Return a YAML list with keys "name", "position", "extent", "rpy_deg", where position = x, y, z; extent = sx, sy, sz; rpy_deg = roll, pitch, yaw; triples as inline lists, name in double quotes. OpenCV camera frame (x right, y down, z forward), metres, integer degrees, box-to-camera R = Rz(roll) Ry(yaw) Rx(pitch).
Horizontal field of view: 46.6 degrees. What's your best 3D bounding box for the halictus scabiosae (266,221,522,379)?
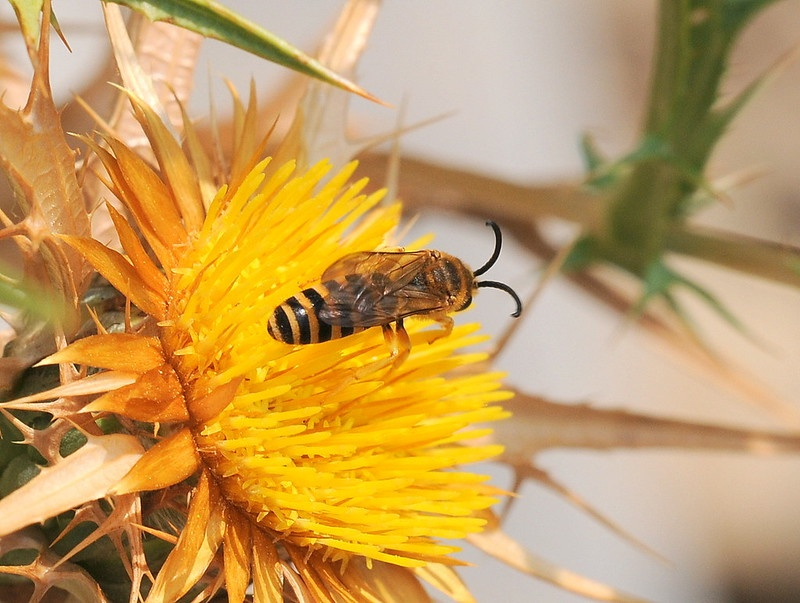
- name: "halictus scabiosae"
  position: [-0.027, -0.035, 1.491]
  extent: [0.159, 0.328, 0.100]
  rpy_deg: [56, -43, 31]
